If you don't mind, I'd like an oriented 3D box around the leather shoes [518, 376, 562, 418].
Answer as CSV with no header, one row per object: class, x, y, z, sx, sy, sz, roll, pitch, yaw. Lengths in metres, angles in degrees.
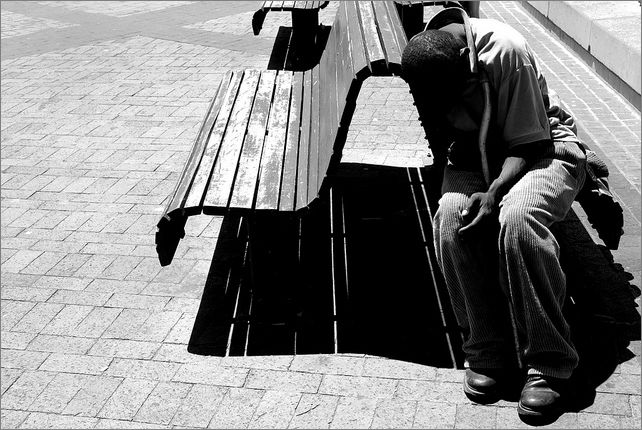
leather shoes,1.160,0.986,3.030,0.190,0.176,0.195,15,32,23
